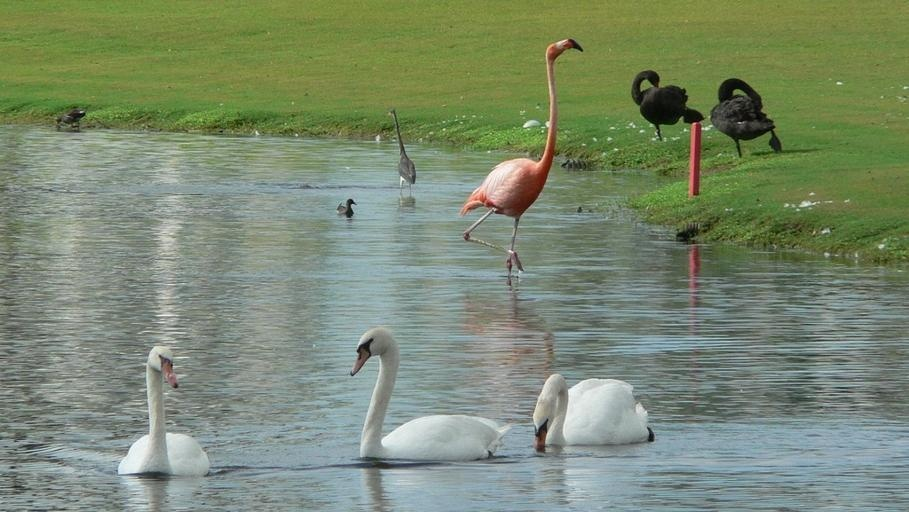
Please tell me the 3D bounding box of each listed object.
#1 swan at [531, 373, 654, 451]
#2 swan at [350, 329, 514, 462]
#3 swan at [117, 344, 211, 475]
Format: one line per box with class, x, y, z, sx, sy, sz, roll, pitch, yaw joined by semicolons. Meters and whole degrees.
swan;2.588;2.856;28.129;2.270;1.376;0.948;0;2;-5
swan;-0.536;2.517;27.657;2.590;2.368;0.761;0;3;-2
swan;-5.355;2.775;27.156;1.873;2.137;1.862;3;0;-30
